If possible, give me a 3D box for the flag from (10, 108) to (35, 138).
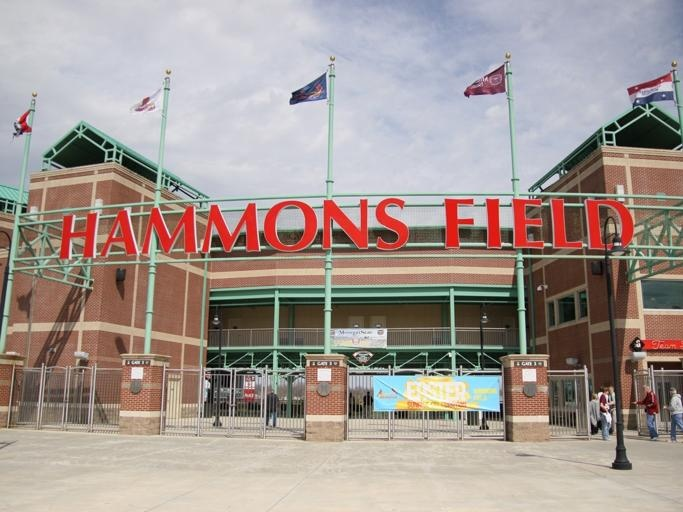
[{"bbox_3d":[-14.505,-5.962,29.086,0.615,1.727,1.664,7,-17,-26],"label":"flag"}]
